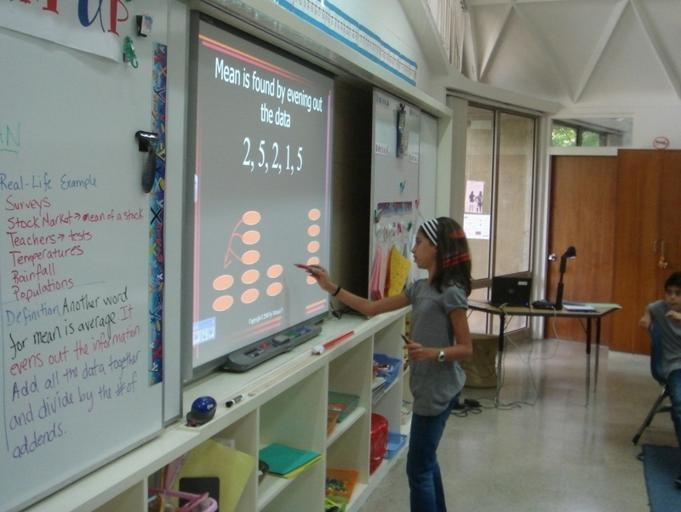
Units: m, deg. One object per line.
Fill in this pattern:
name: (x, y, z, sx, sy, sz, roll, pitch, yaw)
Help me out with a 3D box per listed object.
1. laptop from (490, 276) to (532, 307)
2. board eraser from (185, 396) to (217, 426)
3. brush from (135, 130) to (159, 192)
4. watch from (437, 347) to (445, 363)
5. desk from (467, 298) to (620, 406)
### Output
laptop: (1.612, 0.342, 5.023, 0.363, 0.277, 0.326, 1, -6, 11)
board eraser: (-0.497, 0.554, 1.896, 0.072, 0.109, 0.052, 7, -6, 10)
brush: (-0.612, -0.298, 1.699, 0.053, 0.177, 0.121, 5, 16, 10)
watch: (0.472, 0.458, 2.457, 0.041, 0.046, 0.048, -11, 13, 36)
desk: (2.094, 1.103, 5.432, 1.280, 0.924, 1.479, 2, 8, 16)
